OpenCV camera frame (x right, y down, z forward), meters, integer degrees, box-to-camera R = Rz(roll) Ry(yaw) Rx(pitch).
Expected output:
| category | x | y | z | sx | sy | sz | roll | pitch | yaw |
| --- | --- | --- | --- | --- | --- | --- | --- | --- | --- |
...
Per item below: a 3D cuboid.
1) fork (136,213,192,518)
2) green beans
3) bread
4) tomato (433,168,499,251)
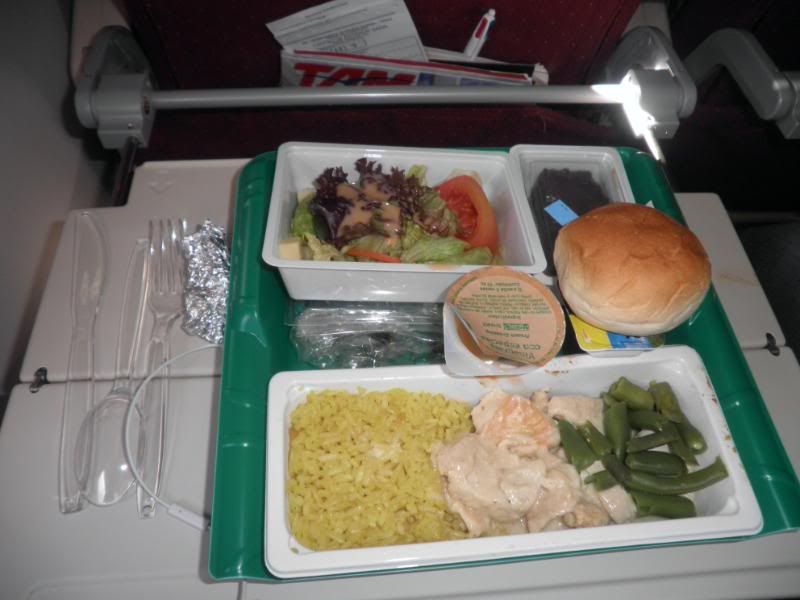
| category | x | y | z | sx | sy | sz | roll | pitch | yaw |
| --- | --- | --- | --- | --- | --- | --- | --- | --- | --- |
| fork | -0.604 | 0.105 | 1.406 | 0.095 | 0.063 | 0.819 | 0 | 76 | 2 |
| green beans | 0.506 | 0.332 | 1.197 | 0.281 | 0.089 | 0.287 | -25 | 67 | -14 |
| bread | 0.507 | -0.063 | 1.238 | 0.278 | 0.142 | 0.249 | -1 | 62 | -4 |
| tomato | 0.175 | -0.217 | 1.431 | 0.124 | 0.068 | 0.215 | -13 | 64 | -11 |
